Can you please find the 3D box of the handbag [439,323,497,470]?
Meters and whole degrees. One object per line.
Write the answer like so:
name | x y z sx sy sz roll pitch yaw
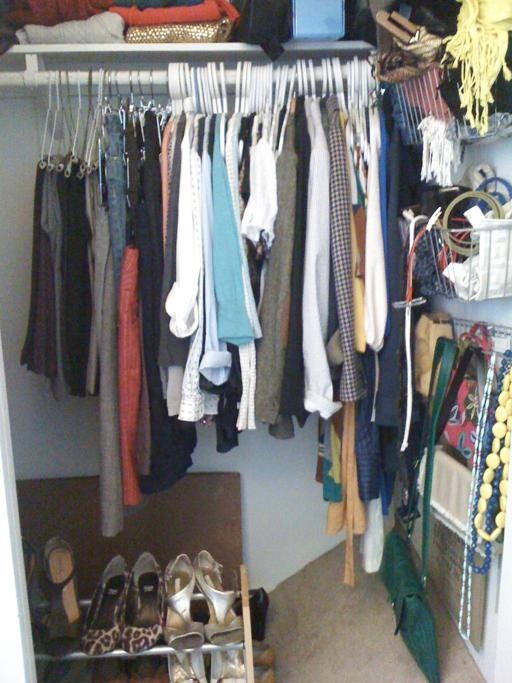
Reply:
handbag | 0.462 0.103 1.423 0.121 0.339 0.063 5 -17 10
